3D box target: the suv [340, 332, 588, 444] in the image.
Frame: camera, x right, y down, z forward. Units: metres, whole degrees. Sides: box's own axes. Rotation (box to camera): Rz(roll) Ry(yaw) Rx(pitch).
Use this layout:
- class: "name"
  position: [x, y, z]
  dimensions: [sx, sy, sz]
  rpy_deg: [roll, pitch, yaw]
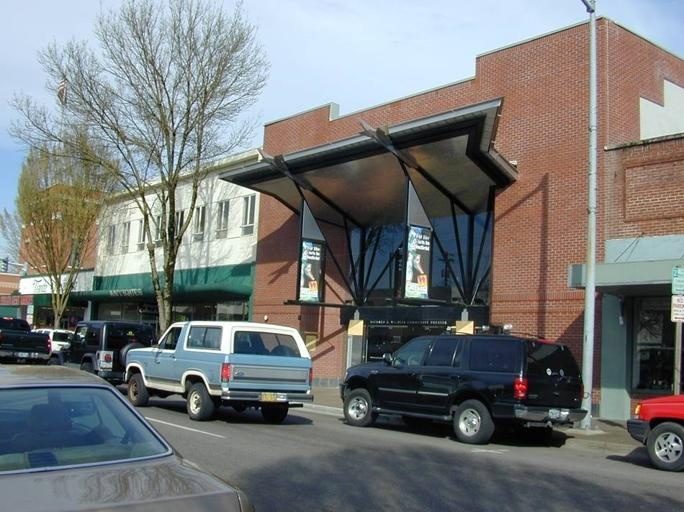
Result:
- class: "suv"
  position: [2.735, 2.729, 14.631]
  dimensions: [4.521, 1.832, 2.434]
  rpy_deg: [-2, -8, 44]

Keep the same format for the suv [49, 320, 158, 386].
- class: "suv"
  position: [-7.039, 2.827, 20.027]
  dimensions: [1.771, 1.625, 3.019]
  rpy_deg: [7, -4, -39]

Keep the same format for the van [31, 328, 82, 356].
- class: "van"
  position: [-10.326, 3.133, 23.436]
  dimensions: [1.379, 1.299, 2.816]
  rpy_deg: [2, 1, -32]
